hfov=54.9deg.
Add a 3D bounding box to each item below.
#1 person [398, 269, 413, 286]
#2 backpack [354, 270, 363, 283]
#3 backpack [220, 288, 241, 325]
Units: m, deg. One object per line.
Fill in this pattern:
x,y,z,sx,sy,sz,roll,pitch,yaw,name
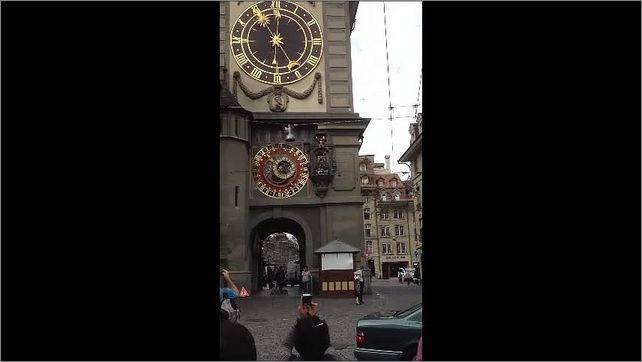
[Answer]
4.595,5.070,33.359,0.654,0.496,0.889,2,-30,-1,person
0.892,2.188,14.367,0.222,0.252,0.271,-3,6,4,backpack
-1.053,1.415,7.099,0.198,0.373,0.472,3,-23,-6,backpack
